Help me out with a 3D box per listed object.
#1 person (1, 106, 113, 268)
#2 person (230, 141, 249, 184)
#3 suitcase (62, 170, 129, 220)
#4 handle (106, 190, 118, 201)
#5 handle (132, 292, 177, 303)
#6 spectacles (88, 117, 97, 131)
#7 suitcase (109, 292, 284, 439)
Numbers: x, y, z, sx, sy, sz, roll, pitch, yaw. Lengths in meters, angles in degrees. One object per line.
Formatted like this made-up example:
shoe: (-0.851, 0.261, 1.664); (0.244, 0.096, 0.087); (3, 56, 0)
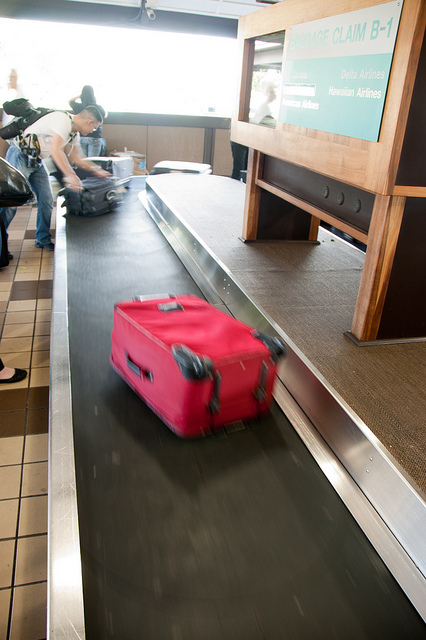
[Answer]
person: (-1.572, -1.330, 3.745); (1.127, 1.425, 0.671); (14, 27, 23)
person: (0.435, -2.641, 6.246); (0.262, 0.545, 0.735); (3, 26, 1)
suitcase: (-1.081, -1.112, 3.378); (0.431, 0.284, 0.671); (4, 26, 1)
handle: (-0.902, -1.095, 3.316); (0.091, 0.092, 0.022); (31, 11, 5)
handle: (-0.235, -0.089, 1.494); (0.117, 0.022, 0.032); (-5, 36, -35)
spectacles: (-1.142, -1.851, 3.540); (0.048, 0.092, 0.130); (-24, 81, -36)
suitcase: (-0.093, 0.123, 1.255); (0.387, 0.286, 0.570); (-6, 22, -32)
